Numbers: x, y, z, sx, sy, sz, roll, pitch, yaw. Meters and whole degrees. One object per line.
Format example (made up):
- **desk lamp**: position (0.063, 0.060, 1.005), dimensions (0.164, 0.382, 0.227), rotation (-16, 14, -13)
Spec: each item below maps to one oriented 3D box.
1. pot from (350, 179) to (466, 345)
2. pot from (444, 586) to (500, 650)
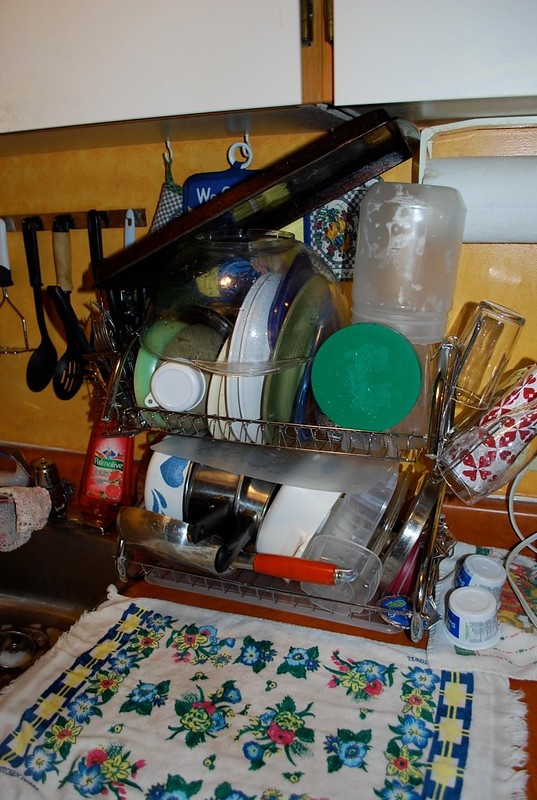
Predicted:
- **pot**: position (0.151, -0.149, 0.686), dimensions (0.117, 0.173, 0.071), rotation (4, 15, 15)
- **pot**: position (0.244, 0.261, 0.750), dimensions (0.066, 0.046, 0.066), rotation (-4, 22, 2)
